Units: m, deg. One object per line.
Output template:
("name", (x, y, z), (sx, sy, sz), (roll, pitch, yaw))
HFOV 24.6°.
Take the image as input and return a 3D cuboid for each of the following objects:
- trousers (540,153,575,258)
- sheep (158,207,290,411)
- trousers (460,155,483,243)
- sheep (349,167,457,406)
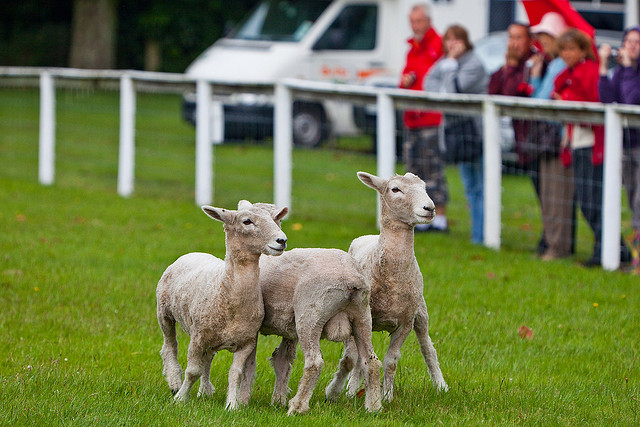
("trousers", (2.713, -0.024, 16.732), (0.367, 1.935, 0.511), (-4, 20, -1))
("sheep", (-1.113, 0.952, 15.178), (0.788, 2.308, 1.985), (2, 3, -31))
("trousers", (1.980, -0.203, 18.934), (0.247, 1.008, 0.924), (2, 11, -1))
("sheep", (0.639, 0.687, 15.595), (0.832, 2.583, 2.540), (-8, 7, -18))
